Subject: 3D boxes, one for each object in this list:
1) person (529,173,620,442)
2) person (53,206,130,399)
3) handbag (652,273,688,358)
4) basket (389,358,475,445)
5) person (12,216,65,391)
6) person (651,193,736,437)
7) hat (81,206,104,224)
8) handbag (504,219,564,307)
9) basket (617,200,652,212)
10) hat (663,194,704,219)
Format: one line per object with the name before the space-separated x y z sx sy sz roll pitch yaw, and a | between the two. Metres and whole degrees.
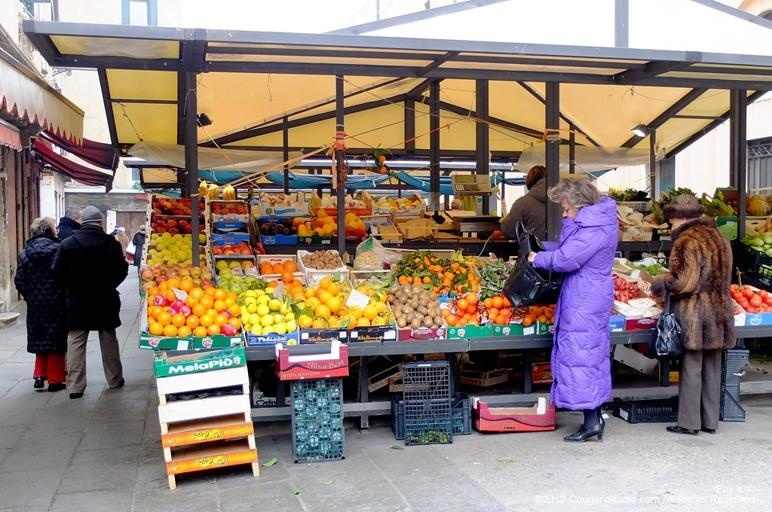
person | 2.169 0.630 8.032 1.163 2.941 1.054 0 -2 29
person | -4.074 0.642 9.527 0.830 2.446 1.093 -1 0 37
handbag | 3.296 0.764 8.111 0.294 0.947 0.423 1 -13 17
basket | 0.500 1.630 8.197 0.822 0.947 0.842 0 1 -6
person | -4.685 0.623 9.654 0.860 2.320 0.826 -1 2 -7
person | 3.638 0.644 8.298 0.827 3.025 0.810 0 0 12
hat | -4.020 -0.574 9.464 0.296 0.247 0.206 4 4 -20
handbag | 1.676 0.089 7.918 0.501 1.067 0.669 0 1 9
basket | 4.856 -0.990 13.450 0.508 0.177 0.334 -1 2 1
hat | 3.533 -0.604 8.249 0.373 0.281 0.305 -5 12 -5
